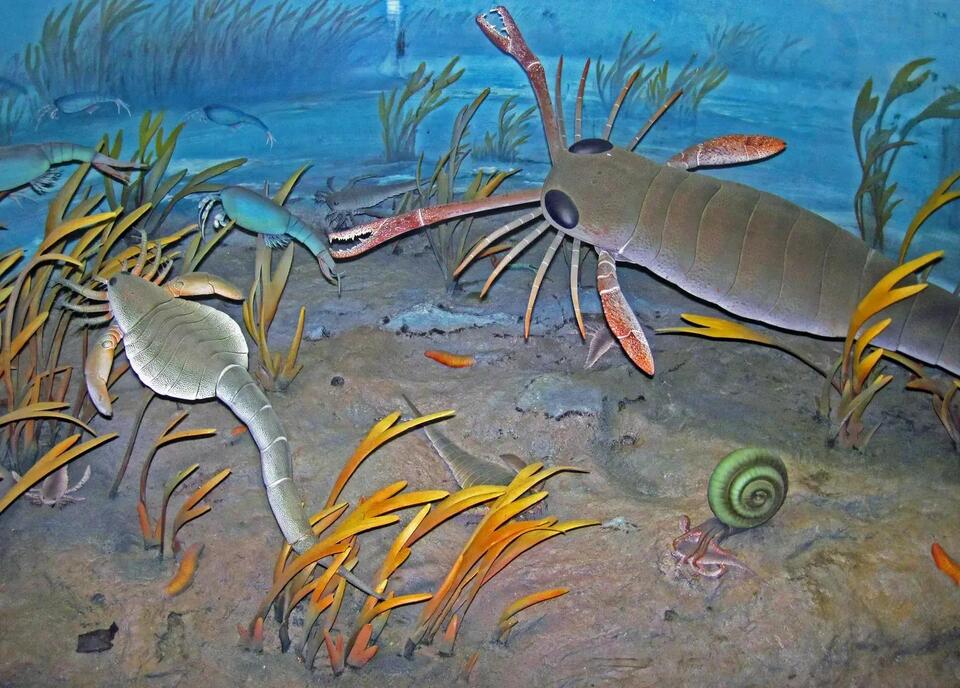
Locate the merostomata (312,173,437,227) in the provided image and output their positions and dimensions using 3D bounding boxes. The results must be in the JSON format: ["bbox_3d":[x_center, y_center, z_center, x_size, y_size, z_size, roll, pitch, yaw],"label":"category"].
[{"bbox_3d":[-0.718,-0.887,4.813,0.576,0.066,0.314,-17,77,-27],"label":"merostomata"}]
